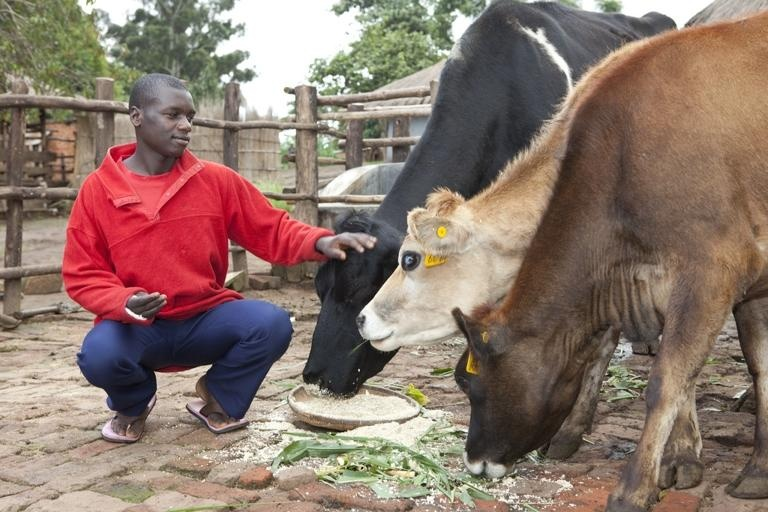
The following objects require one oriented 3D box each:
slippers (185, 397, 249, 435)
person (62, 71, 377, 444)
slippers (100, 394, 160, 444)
[{"bbox_3d":[-1.020,0.982,5.552,0.425,0.112,0.165,13,18,30],"label":"slippers"},{"bbox_3d":[-1.182,-0.013,5.452,1.419,2.140,0.751,-5,14,-17],"label":"person"},{"bbox_3d":[-1.526,0.926,5.511,0.239,0.125,0.493,12,35,9],"label":"slippers"}]
